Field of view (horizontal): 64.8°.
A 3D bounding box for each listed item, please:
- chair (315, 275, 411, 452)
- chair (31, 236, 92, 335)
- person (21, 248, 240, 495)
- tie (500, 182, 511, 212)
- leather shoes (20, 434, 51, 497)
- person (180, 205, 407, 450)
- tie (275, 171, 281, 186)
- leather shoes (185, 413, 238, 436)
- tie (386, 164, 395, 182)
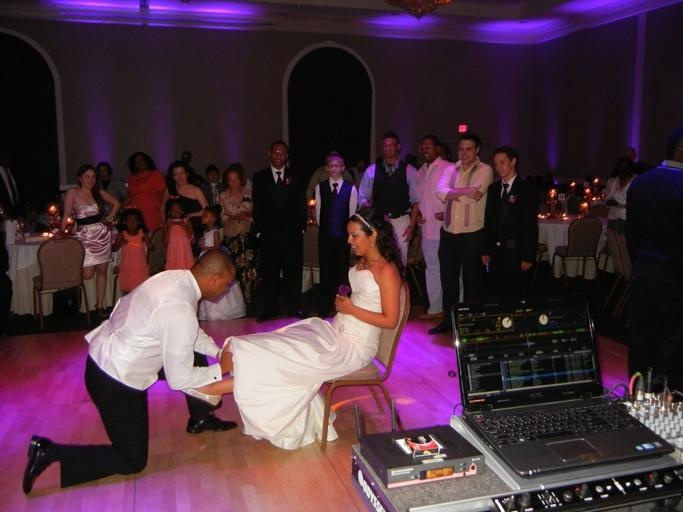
[{"bbox_3d":[0.133,0.713,3.605,0.504,0.868,0.484,2,3,-11],"label":"chair"},{"bbox_3d":[-3.092,0.327,5.946,0.591,1.260,0.718,-5,31,-25],"label":"chair"},{"bbox_3d":[-1.137,0.667,3.152,0.684,1.289,1.381,17,18,37],"label":"person"},{"bbox_3d":[1.467,-0.517,4.818,0.042,0.200,0.134,3,-2,3],"label":"tie"},{"bbox_3d":[-1.705,1.152,3.022,0.169,0.314,0.255,-8,14,-36],"label":"leather shoes"},{"bbox_3d":[-0.233,0.463,3.467,1.294,1.543,0.626,-3,11,-18],"label":"person"},{"bbox_3d":[-0.673,-0.812,5.744,0.045,0.163,0.020,-1,-4,-4],"label":"tie"},{"bbox_3d":[-0.878,1.118,3.646,0.336,0.171,0.130,0,-3,-16],"label":"leather shoes"},{"bbox_3d":[0.538,-0.874,5.778,0.095,0.140,0.081,0,-4,11],"label":"tie"}]
